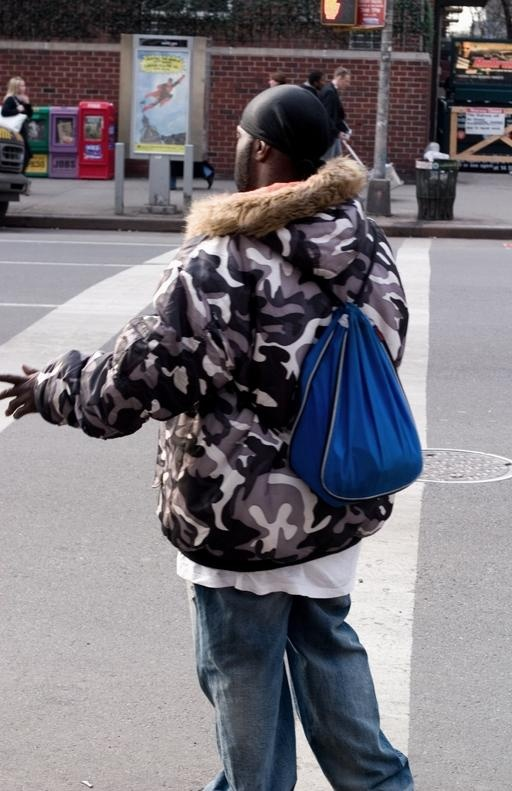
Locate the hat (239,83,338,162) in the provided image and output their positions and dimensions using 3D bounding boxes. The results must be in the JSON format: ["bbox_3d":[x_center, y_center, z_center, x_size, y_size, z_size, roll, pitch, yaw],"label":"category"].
[{"bbox_3d":[0.054,-0.485,1.669,0.158,0.117,0.155,13,-3,-30],"label":"hat"}]

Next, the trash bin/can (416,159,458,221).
[{"bbox_3d":[3.333,-3.754,16.227,0.722,1.116,0.798,2,9,9],"label":"trash bin/can"}]

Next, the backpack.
[{"bbox_3d":[0.179,-0.011,1.584,0.218,0.436,0.201,4,10,20],"label":"backpack"}]
